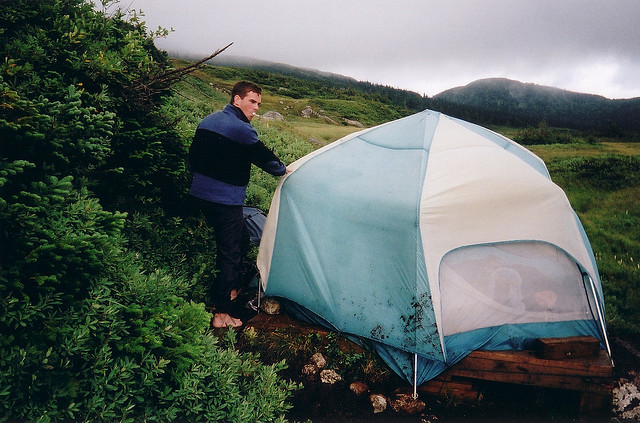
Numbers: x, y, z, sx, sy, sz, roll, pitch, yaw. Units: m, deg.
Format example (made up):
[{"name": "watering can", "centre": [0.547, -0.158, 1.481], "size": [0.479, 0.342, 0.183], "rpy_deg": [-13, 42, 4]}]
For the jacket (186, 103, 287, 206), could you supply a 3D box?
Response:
[{"name": "jacket", "centre": [-1.425, -0.968, 7.582], "size": [1.642, 1.481, 1.688], "rpy_deg": [12, 10, 42]}]
